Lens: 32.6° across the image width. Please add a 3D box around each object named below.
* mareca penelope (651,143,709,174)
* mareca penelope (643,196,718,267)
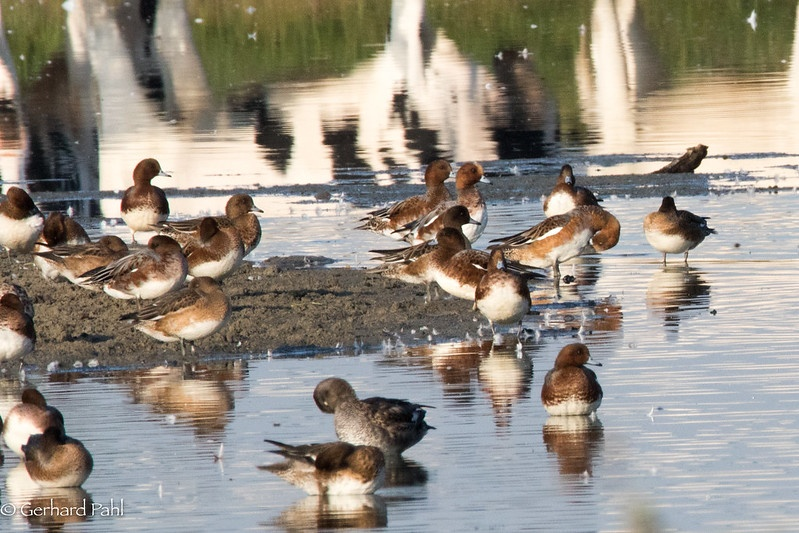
[{"bbox_3d":[7.070,-2.641,33.652,0.605,0.568,1.554,13,-23,-24],"label":"mareca penelope"},{"bbox_3d":[5.346,-0.680,26.406,1.146,1.351,0.455,-3,17,6],"label":"mareca penelope"}]
